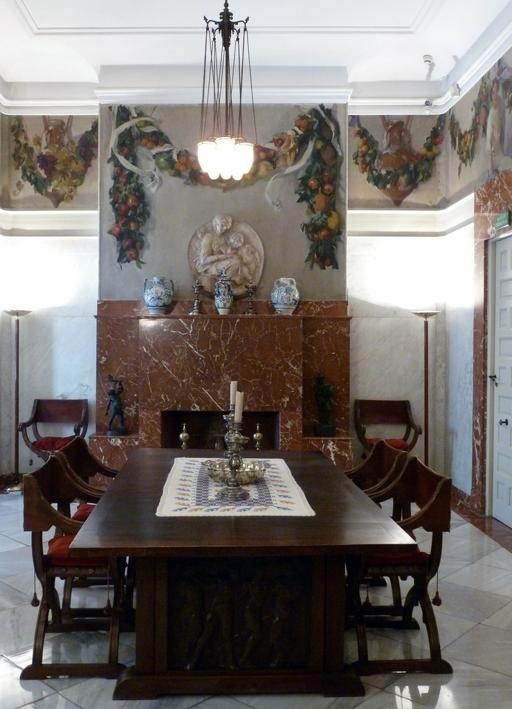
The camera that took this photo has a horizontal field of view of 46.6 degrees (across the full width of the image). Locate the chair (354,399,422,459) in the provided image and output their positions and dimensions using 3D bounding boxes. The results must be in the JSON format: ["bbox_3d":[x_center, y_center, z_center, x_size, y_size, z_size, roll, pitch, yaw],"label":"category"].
[{"bbox_3d":[1.319,0.869,6.001,0.611,0.771,0.586,-1,4,-4],"label":"chair"}]

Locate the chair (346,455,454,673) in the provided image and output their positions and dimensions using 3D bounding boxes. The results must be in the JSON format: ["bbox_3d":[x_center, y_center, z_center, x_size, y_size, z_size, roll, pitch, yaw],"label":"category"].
[{"bbox_3d":[0.653,0.995,2.734,0.381,0.670,0.810,0,-7,3],"label":"chair"}]

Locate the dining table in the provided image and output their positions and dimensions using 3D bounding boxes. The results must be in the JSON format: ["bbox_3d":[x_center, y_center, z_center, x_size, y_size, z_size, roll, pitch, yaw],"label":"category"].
[{"bbox_3d":[-0.065,0.954,2.420,1.128,0.752,1.202,-1,-1,-6],"label":"dining table"}]

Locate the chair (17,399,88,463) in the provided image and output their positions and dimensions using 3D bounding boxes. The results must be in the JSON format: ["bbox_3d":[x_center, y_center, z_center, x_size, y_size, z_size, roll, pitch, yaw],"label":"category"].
[{"bbox_3d":[-2.025,0.837,5.960,0.647,0.732,0.610,1,4,-20],"label":"chair"}]

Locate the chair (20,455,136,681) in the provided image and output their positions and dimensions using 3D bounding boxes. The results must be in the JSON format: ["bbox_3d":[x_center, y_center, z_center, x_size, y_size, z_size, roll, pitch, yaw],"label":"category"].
[{"bbox_3d":[-0.789,0.985,2.652,0.335,0.560,0.865,0,-1,-10],"label":"chair"}]
